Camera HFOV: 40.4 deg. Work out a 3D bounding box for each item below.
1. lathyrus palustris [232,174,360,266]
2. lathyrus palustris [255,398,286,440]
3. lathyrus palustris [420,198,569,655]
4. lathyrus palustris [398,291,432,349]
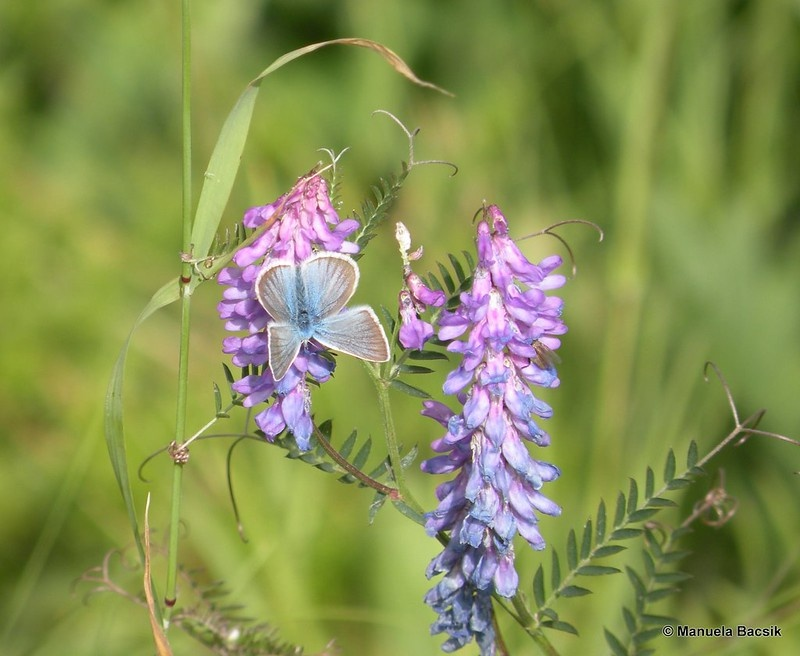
[{"bbox_3d":[-0.265,-0.264,2.775,0.272,0.257,0.257,-5,8,-27],"label":"lathyrus palustris"},{"bbox_3d":[-0.334,0.242,2.843,0.081,0.096,0.080,-1,-16,-3],"label":"lathyrus palustris"},{"bbox_3d":[0.260,0.264,2.942,0.333,1.302,0.410,-2,7,-25],"label":"lathyrus palustris"},{"bbox_3d":[0.034,-0.013,2.799,0.080,0.149,0.038,-18,-2,30],"label":"lathyrus palustris"}]
